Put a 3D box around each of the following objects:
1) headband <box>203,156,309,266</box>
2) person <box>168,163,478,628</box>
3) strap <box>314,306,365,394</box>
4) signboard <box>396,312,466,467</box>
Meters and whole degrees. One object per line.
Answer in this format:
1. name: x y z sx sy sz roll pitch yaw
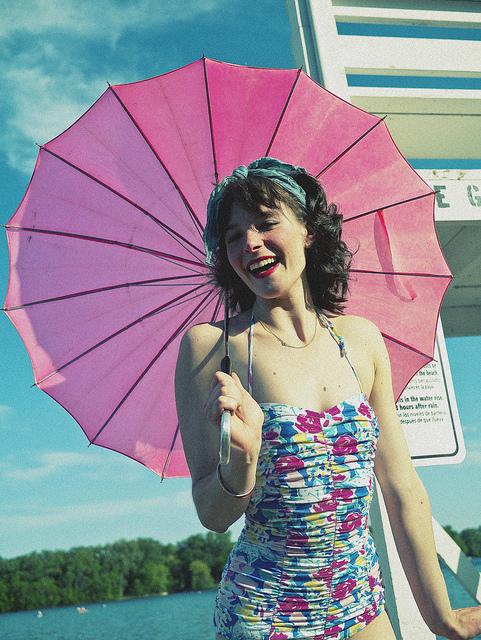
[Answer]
1. headband: 0.037 -0.470 3.298 0.474 0.327 0.291 -8 -13 13
2. person: 0.154 0.283 3.184 1.053 1.823 0.684 4 -16 -36
3. strap: 0.350 0.060 3.330 0.066 0.746 0.106 40 -76 -24
4. signboard: 1.079 0.424 4.783 0.337 0.822 0.280 -8 -13 8
